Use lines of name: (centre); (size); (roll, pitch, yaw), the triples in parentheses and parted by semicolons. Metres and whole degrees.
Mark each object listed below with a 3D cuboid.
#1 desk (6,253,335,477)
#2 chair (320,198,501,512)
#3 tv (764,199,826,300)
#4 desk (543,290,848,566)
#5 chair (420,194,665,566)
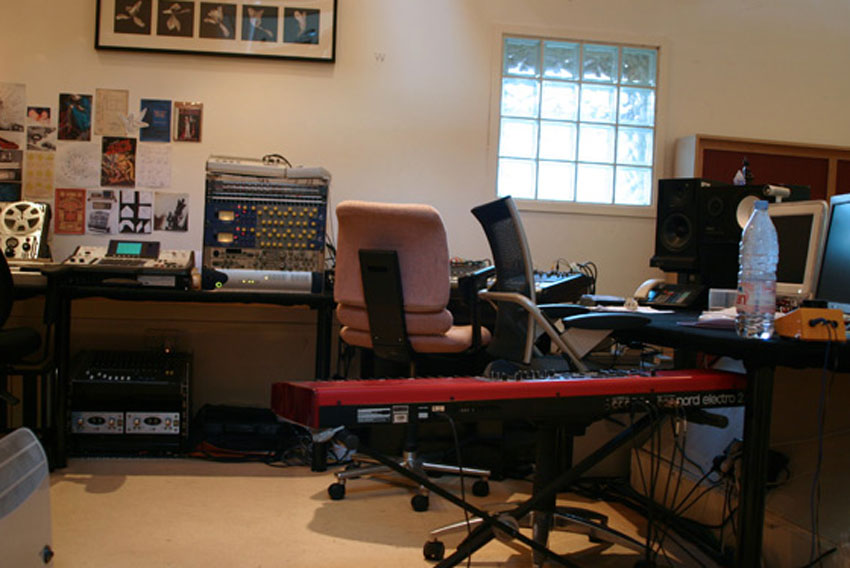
desk: (-1.746, 0.660, 4.929); (2.113, 1.086, 1.168); (3, 2, -18)
chair: (-0.055, 0.381, 4.616); (0.978, 1.601, 1.031); (-1, -6, 35)
tv: (1.872, -0.161, 3.889); (0.054, 0.675, 0.500); (3, -1, -15)
desk: (1.274, 0.713, 3.875); (0.998, 1.259, 1.340); (-1, 3, -5)
chair: (0.446, 0.536, 4.943); (1.547, 2.574, 1.646); (2, -9, -2)
